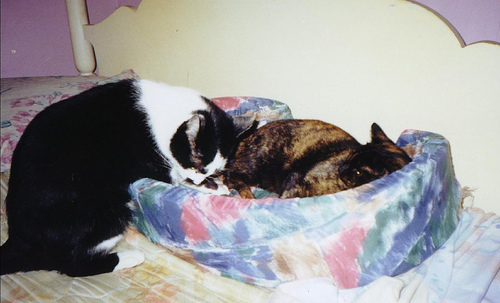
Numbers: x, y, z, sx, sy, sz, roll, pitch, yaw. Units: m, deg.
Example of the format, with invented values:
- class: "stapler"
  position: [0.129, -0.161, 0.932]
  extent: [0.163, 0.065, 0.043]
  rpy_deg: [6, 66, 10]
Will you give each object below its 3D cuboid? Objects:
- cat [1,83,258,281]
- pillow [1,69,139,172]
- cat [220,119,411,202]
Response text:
- class: "cat"
  position: [-0.345, -0.081, 2.669]
  extent: [1.763, 0.819, 0.546]
  rpy_deg: [-17, 29, -15]
- class: "pillow"
  position: [-1.000, -0.127, 2.588]
  extent: [0.503, 0.135, 0.575]
  rpy_deg: [-4, 42, -4]
- class: "cat"
  position: [0.335, -0.018, 2.657]
  extent: [0.796, 0.438, 0.476]
  rpy_deg: [17, 27, 14]
